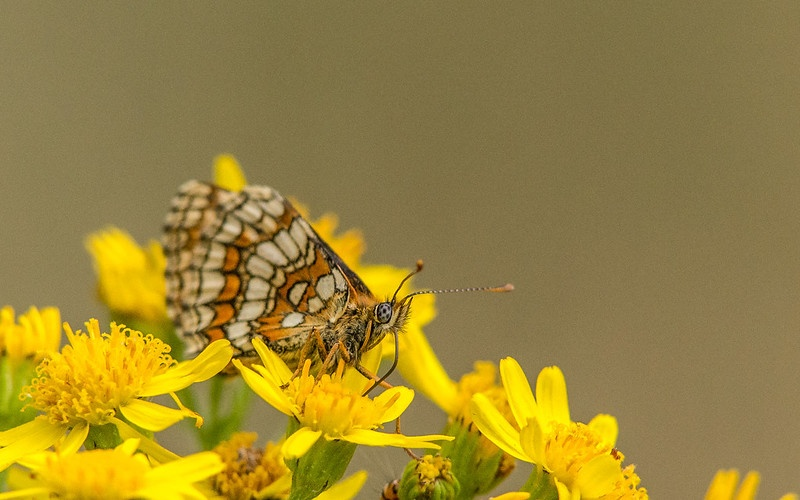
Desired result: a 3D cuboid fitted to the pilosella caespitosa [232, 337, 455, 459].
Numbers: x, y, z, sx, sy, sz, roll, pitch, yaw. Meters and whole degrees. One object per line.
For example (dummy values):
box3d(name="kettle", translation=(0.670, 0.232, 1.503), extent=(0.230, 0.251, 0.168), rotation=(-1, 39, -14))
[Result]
box3d(name="pilosella caespitosa", translation=(-0.242, 0.576, 3.459), extent=(0.500, 0.533, 0.215), rotation=(13, 86, -1))
